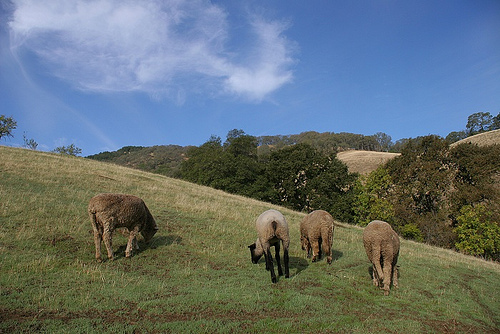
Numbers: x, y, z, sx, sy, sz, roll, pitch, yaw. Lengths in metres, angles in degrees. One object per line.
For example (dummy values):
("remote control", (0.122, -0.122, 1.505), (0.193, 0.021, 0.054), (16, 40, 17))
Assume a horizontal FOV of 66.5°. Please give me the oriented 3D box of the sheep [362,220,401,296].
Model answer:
("sheep", (8.367, 5.628, 23.841), (1.863, 4.457, 1.238), (-1, -5, -21))
